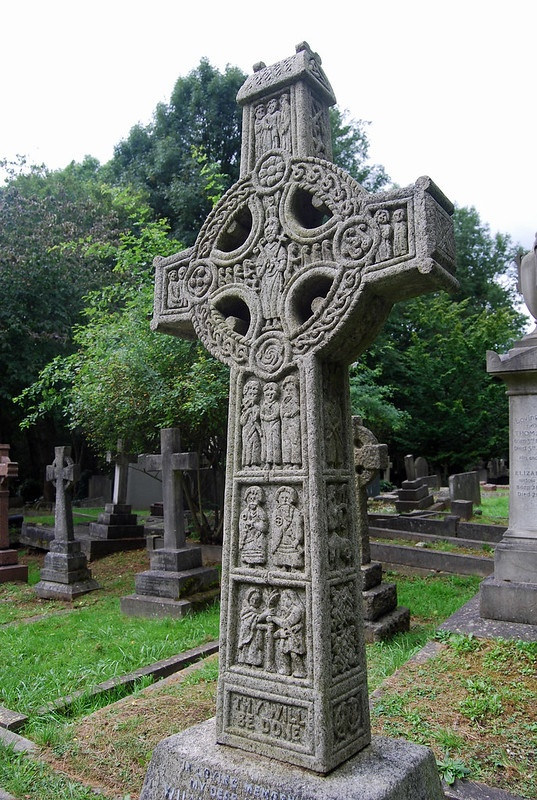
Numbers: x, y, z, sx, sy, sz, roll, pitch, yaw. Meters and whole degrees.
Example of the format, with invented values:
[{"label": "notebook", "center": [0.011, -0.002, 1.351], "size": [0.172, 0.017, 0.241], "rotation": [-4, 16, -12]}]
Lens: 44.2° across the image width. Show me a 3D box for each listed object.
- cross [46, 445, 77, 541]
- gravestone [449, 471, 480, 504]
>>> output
[{"label": "cross", "center": [-2.764, 1.250, 8.831], "size": [0.368, 1.274, 1.200], "rotation": [1, -5, -18]}, {"label": "gravestone", "center": [4.194, 1.872, 14.093], "size": [0.127, 0.554, 0.969], "rotation": [0, 0, 37]}]
